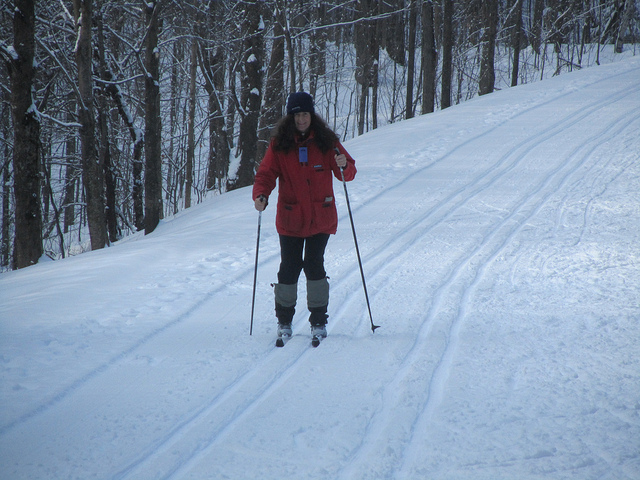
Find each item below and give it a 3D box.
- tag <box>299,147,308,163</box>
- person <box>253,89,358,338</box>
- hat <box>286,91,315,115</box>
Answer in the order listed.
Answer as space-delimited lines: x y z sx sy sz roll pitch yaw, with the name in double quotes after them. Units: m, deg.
-0.210 -0.987 6.726 0.170 0.171 0.042 2 2 -2 "tag"
-0.206 -0.281 6.826 1.113 2.846 0.512 -4 11 -7 "person"
-0.245 -1.577 6.696 0.249 0.214 0.250 -8 3 9 "hat"
